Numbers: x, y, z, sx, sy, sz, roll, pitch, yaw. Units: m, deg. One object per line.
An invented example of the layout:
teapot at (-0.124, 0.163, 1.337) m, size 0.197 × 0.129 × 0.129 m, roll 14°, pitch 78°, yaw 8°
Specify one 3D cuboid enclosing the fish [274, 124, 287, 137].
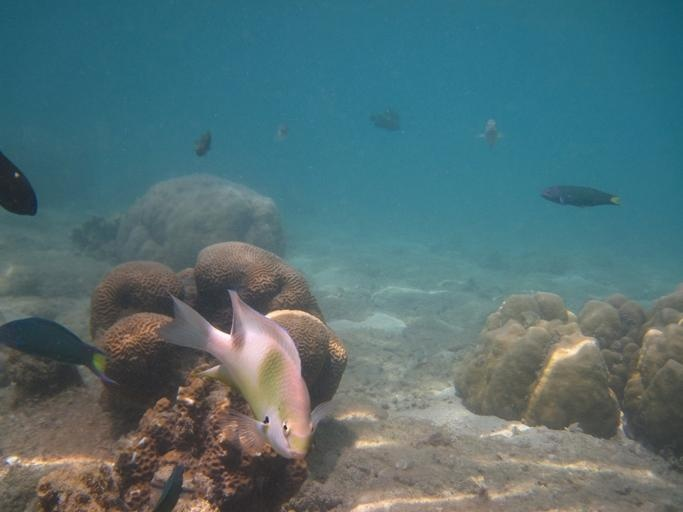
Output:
fish at (-1.247, -2.612, 15.657) m, size 0.192 × 0.310 × 0.473 m, roll 7°, pitch 9°, yaw -9°
